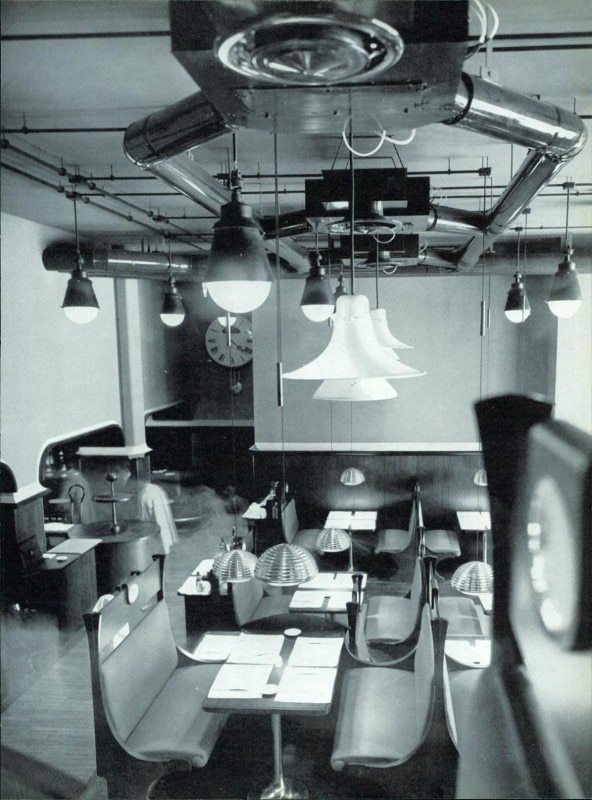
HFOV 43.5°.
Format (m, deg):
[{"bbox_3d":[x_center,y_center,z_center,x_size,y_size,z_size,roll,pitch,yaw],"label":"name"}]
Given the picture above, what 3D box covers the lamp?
[{"bbox_3d":[0.154,-0.748,3.776,1.286,1.027,1.458,0,-5,3],"label":"lamp"}]
